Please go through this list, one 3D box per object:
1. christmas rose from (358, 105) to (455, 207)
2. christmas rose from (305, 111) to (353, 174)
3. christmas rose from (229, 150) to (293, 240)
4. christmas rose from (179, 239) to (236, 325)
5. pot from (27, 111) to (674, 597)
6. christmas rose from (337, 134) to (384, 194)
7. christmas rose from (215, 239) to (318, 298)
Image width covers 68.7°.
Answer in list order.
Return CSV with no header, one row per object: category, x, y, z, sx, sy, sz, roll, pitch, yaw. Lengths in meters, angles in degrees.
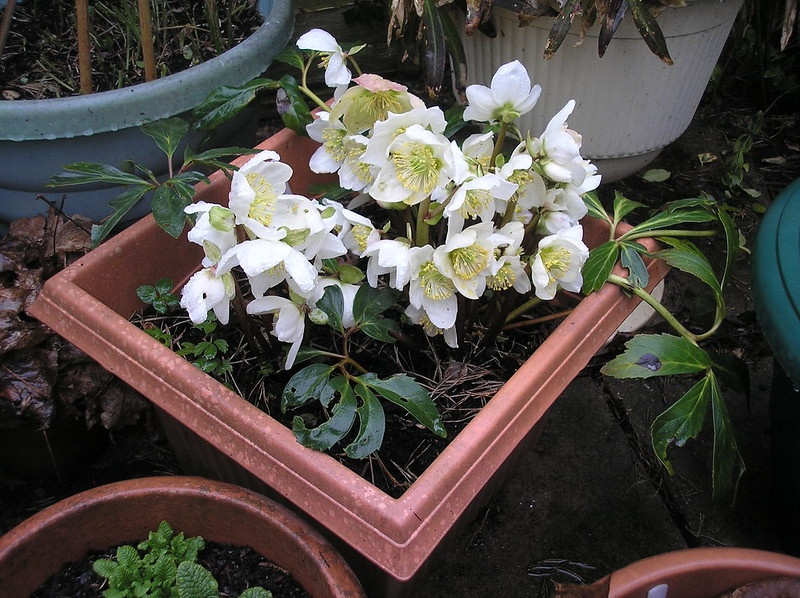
christmas rose,0.016,-0.275,1.083,0.152,0.163,0.081,-28,18,30
christmas rose,-0.131,-0.326,1.268,0.103,0.123,0.059,-5,20,44
christmas rose,-0.244,-0.187,1.015,0.092,0.097,0.173,2,47,-6
christmas rose,-0.353,-0.032,1.062,0.096,0.149,0.060,-1,3,-15
pot,-0.032,0.181,1.558,1.099,0.759,1.036,-2,59,4
christmas rose,-0.082,-0.259,1.188,0.097,0.110,0.053,-22,24,22
christmas rose,-0.228,-0.056,1.021,0.150,0.152,0.063,23,79,-23
